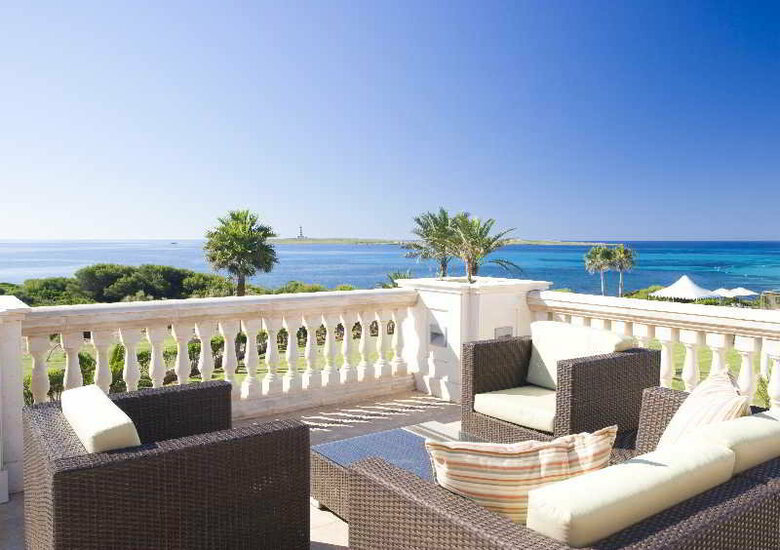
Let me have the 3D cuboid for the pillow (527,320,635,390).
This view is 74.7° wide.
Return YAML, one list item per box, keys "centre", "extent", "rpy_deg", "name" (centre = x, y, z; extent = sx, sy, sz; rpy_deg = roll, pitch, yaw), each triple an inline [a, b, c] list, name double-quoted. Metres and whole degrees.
- centre: [1.560, 0.551, 4.043]
  extent: [0.606, 0.482, 0.778]
  rpy_deg: [7, 2, -32]
  name: "pillow"

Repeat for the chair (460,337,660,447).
- centre: [1.224, 0.824, 3.759]
  extent: [1.075, 0.572, 1.006]
  rpy_deg: [0, 1, -39]
  name: "chair"
